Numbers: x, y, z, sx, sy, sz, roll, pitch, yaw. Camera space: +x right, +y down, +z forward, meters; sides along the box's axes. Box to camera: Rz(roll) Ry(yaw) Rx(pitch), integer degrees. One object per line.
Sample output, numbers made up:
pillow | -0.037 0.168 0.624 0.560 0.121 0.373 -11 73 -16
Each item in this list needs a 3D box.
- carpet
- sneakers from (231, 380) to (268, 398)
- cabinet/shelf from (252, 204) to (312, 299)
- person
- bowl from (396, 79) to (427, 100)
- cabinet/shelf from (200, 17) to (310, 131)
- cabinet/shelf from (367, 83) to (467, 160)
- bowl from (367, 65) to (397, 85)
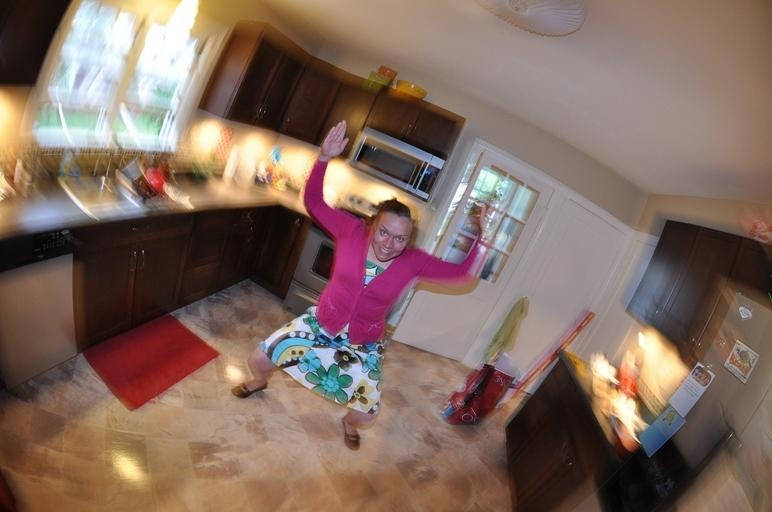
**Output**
carpet | -0.899 0.414 1.600 0.346 0.046 0.321 28 34 22
sneakers | -0.581 0.555 1.741 0.041 0.036 0.115 37 15 22
cabinet/shelf | -0.603 -0.025 2.365 0.285 0.524 0.348 29 0 -21
person | -0.110 0.222 1.755 0.770 1.273 0.355 23 21 2
bowl | 0.082 -0.541 1.352 0.069 0.028 0.065 25 -11 5
cabinet/shelf | -0.464 -0.629 1.481 0.158 0.283 0.294 30 18 12
cabinet/shelf | 0.094 -0.464 1.445 0.281 0.174 0.158 18 27 -8
bowl | -0.008 -0.589 1.355 0.087 0.056 0.028 26 18 18
